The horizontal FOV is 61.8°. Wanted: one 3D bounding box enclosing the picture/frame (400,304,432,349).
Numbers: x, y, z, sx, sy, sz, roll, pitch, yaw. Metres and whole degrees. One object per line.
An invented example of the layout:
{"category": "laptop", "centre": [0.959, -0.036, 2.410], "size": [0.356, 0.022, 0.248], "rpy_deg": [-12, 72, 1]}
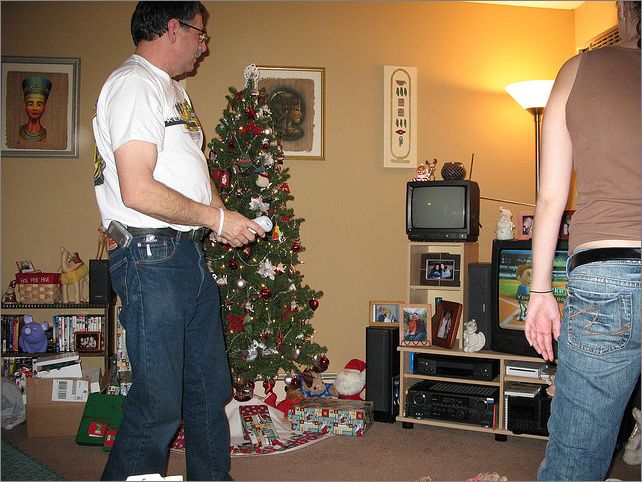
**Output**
{"category": "picture/frame", "centre": [0.639, 0.577, 3.612], "size": [0.277, 0.376, 0.026], "rpy_deg": [1, -19, 0]}

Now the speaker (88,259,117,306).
{"category": "speaker", "centre": [-1.667, 0.288, 4.001], "size": [0.197, 0.321, 0.198], "rpy_deg": [-3, 10, -42]}

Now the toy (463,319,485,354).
{"category": "toy", "centre": [1.004, 0.624, 3.515], "size": [0.101, 0.227, 0.166], "rpy_deg": [9, -11, -38]}

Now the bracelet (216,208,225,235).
{"category": "bracelet", "centre": [-0.394, -0.072, 2.103], "size": [0.019, 0.079, 0.078], "rpy_deg": [1, 11, -6]}

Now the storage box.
{"category": "storage box", "centre": [-1.635, 1.049, 3.505], "size": [0.524, 0.370, 0.275], "rpy_deg": [-2, -14, -35]}

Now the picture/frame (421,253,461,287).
{"category": "picture/frame", "centre": [0.824, 0.187, 3.709], "size": [0.261, 0.232, 0.138], "rpy_deg": [1, 15, 14]}

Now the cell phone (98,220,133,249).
{"category": "cell phone", "centre": [-0.783, -0.034, 2.034], "size": [0.137, 0.072, 0.037], "rpy_deg": [40, 25, 18]}

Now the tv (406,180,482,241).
{"category": "tv", "centre": [0.810, -0.179, 3.784], "size": [0.460, 0.419, 0.341], "rpy_deg": [0, -10, 10]}

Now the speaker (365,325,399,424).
{"category": "speaker", "centre": [0.414, 0.904, 3.655], "size": [0.252, 0.628, 0.139], "rpy_deg": [4, 10, 6]}

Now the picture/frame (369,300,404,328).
{"category": "picture/frame", "centre": [0.466, 0.523, 3.825], "size": [0.178, 0.145, 0.018], "rpy_deg": [0, -14, -1]}

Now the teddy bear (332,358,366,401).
{"category": "teddy bear", "centre": [0.220, 1.005, 3.892], "size": [0.323, 0.320, 0.218], "rpy_deg": [-7, -10, 23]}

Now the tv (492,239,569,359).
{"category": "tv", "centre": [1.419, 0.234, 3.544], "size": [0.565, 0.813, 0.461], "rpy_deg": [2, 27, 25]}

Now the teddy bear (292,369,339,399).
{"category": "teddy bear", "centre": [-0.026, 1.049, 3.913], "size": [0.227, 0.235, 0.092], "rpy_deg": [-3, 11, 25]}

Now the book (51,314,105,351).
{"category": "book", "centre": [-1.807, 0.649, 4.081], "size": [0.426, 0.236, 0.314], "rpy_deg": [0, 5, -9]}
